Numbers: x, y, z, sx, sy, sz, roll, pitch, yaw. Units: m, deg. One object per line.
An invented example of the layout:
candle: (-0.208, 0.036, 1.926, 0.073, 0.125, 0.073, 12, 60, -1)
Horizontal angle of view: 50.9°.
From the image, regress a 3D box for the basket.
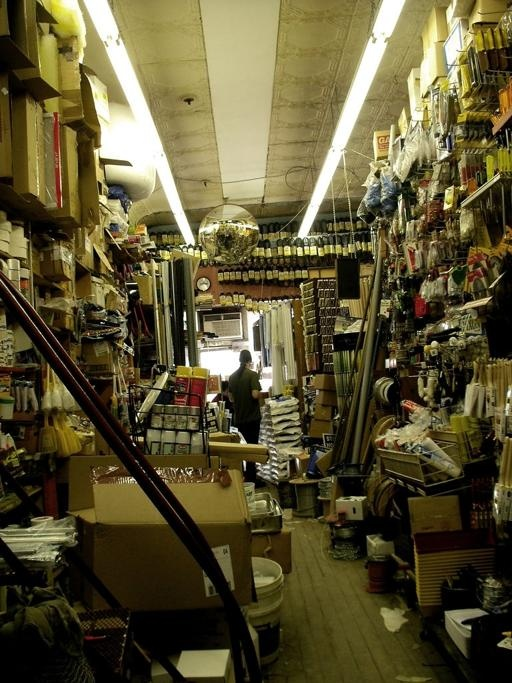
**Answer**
basket: (0.870, 0.651, 2.852, 0.214, 0.105, 0.291, -10, 7, -13)
